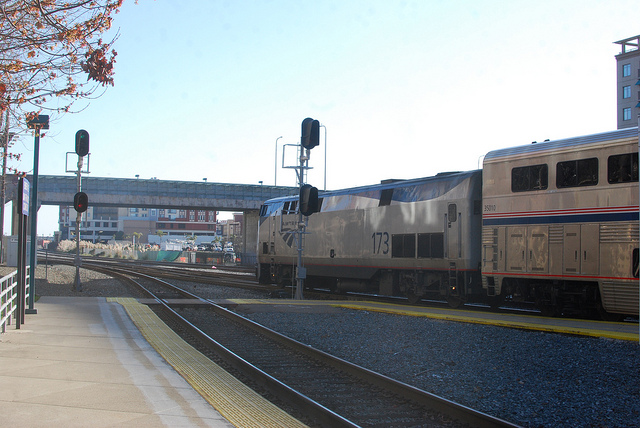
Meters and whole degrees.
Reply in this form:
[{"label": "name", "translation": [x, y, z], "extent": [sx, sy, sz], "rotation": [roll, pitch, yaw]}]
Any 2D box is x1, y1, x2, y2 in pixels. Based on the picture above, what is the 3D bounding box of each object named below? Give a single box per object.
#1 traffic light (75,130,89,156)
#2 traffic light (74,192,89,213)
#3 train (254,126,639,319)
[{"label": "traffic light", "translation": [-10.911, -3.236, 24.347], "extent": [0.463, 1.103, 0.589], "rotation": [3, -5, -33]}, {"label": "traffic light", "translation": [-11.164, -0.570, 24.821], "extent": [0.541, 0.944, 1.189], "rotation": [2, -5, -29]}, {"label": "train", "translation": [3.628, 0.822, 25.931], "extent": [5.098, 7.107, 25.666], "rotation": [4, -3, -35]}]
